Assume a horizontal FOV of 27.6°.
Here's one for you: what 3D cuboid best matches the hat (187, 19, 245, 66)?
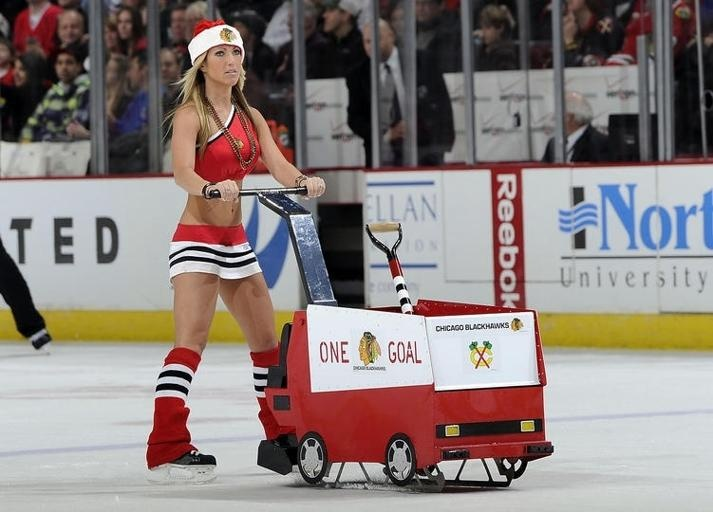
[{"bbox_3d":[-0.985,-1.463,9.923,0.343,0.334,0.353,-8,1,-26],"label":"hat"}]

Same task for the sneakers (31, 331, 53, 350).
[{"bbox_3d":[-3.127,0.830,14.363,0.187,0.220,0.244,-3,5,-10],"label":"sneakers"}]

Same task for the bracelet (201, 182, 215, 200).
[{"bbox_3d":[-0.959,-0.427,9.404,0.076,0.099,0.038,-2,-15,23],"label":"bracelet"}]

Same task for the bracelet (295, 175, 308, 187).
[{"bbox_3d":[-0.372,-0.508,9.710,0.078,0.069,0.155,-4,6,-16],"label":"bracelet"}]

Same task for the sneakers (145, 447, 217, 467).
[{"bbox_3d":[-1.157,1.343,9.622,0.451,0.201,0.163,-4,-6,0],"label":"sneakers"}]

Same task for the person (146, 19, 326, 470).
[{"bbox_3d":[-0.912,-0.067,9.729,1.139,3.056,0.697,-4,5,-17],"label":"person"}]
